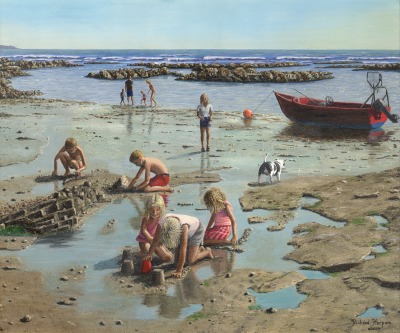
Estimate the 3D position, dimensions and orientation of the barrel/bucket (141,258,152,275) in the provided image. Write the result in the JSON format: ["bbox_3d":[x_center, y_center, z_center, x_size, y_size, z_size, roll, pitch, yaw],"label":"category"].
[{"bbox_3d":[-1.021,1.922,11.060,0.207,0.275,0.120,-4,13,-8],"label":"barrel/bucket"}]

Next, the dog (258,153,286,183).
[{"bbox_3d":[1.928,0.054,15.648,0.714,0.747,1.024,-1,10,6],"label":"dog"}]

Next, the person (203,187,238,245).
[{"bbox_3d":[0.431,1.102,12.199,1.031,1.084,1.195,-2,14,-4],"label":"person"}]

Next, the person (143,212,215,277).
[{"bbox_3d":[-0.332,1.477,11.152,1.239,1.162,0.534,-10,14,-35],"label":"person"}]

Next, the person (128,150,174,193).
[{"bbox_3d":[-1.239,0.141,15.081,1.440,0.826,0.796,1,1,8],"label":"person"}]

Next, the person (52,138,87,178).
[{"bbox_3d":[-3.485,-0.209,15.725,1.077,0.901,0.895,-10,20,-36],"label":"person"}]

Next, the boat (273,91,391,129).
[{"bbox_3d":[5.476,-2.560,27.104,5.993,1.297,2.248,12,15,42],"label":"boat"}]
